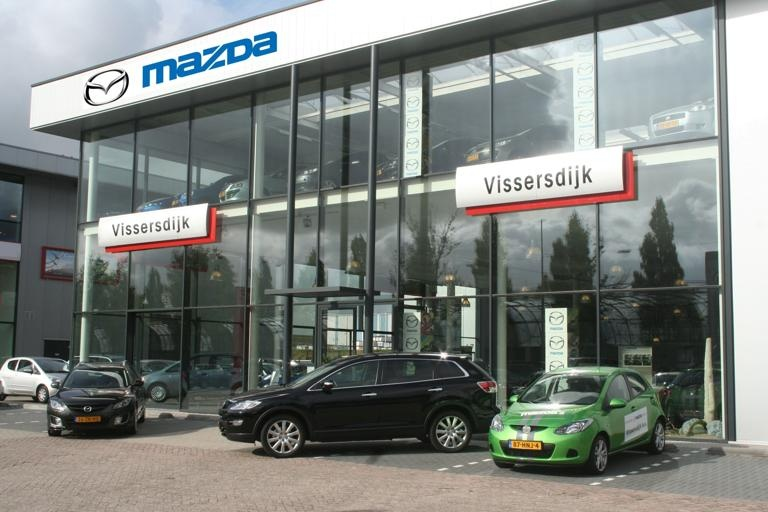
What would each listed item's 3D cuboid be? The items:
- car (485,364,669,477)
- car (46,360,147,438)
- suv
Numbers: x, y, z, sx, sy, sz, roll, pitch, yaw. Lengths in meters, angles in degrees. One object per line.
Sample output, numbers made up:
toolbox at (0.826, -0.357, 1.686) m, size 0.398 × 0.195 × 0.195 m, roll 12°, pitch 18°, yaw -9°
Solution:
car at (4.038, 3.327, 14.137) m, size 3.523 × 2.054 × 1.714 m, roll 1°, pitch 0°, yaw -33°
car at (-7.669, 3.936, 18.228) m, size 2.096 × 1.865 × 2.390 m, roll 1°, pitch 0°, yaw -11°
suv at (-0.618, 3.474, 16.039) m, size 6.137 × 2.023 × 2.459 m, roll 2°, pitch -10°, yaw -7°
